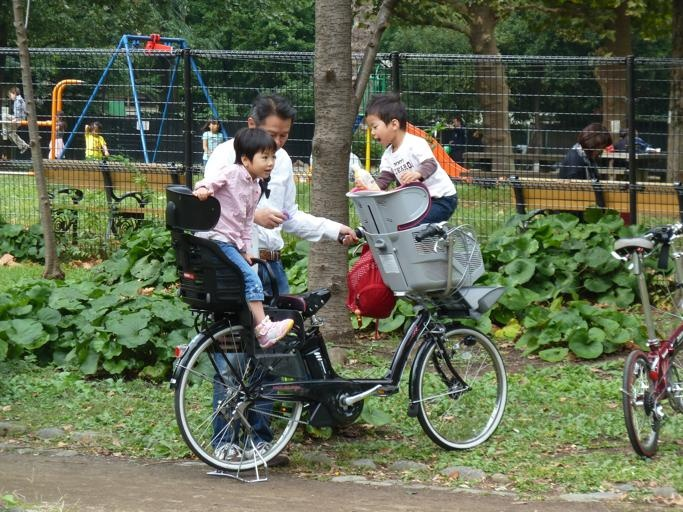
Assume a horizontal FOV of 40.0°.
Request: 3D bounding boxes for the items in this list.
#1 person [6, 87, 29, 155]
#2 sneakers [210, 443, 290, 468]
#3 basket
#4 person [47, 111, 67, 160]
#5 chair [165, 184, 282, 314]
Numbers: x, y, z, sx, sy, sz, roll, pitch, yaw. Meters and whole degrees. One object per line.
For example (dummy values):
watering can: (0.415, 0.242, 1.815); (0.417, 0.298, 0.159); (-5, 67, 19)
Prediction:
person: (-4.782, -2.017, 13.903); (0.362, 0.982, 0.709); (-1, 4, -20)
sneakers: (-0.646, 1.499, 7.001); (0.576, 0.205, 0.140); (-1, 4, -23)
basket: (0.675, 0.029, 7.187); (0.582, 0.382, 0.544); (-17, 1, -18)
person: (-4.018, -1.735, 13.449); (0.219, 0.693, 0.322); (-1, 4, -16)
chair: (-0.884, -0.028, 6.863); (0.772, 0.819, 0.534); (-2, 6, -31)
